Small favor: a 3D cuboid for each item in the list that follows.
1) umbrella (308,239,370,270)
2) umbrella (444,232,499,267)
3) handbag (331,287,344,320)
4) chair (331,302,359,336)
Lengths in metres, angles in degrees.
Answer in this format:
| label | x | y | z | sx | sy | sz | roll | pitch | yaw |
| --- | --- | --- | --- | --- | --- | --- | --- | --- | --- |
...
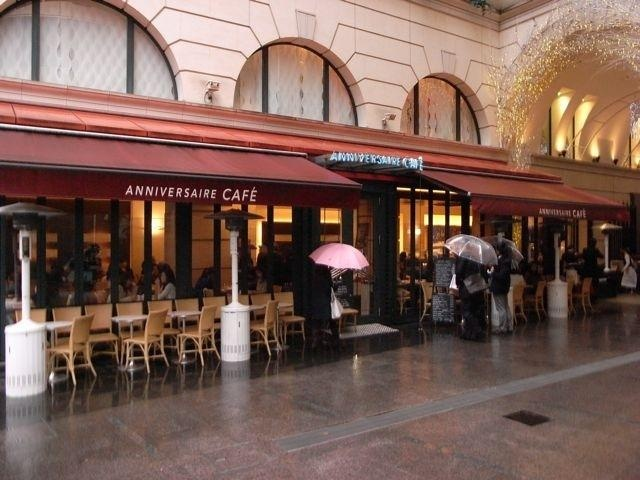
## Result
| label | x | y | z | sx | sy | sz | roll | pitch | yaw |
| --- | --- | --- | --- | --- | --- | --- | --- | --- | --- |
| umbrella | 0.425 | 0.374 | 14.734 | 1.159 | 0.571 | 0.744 | -3 | 1 | 5 |
| umbrella | 3.712 | 0.268 | 15.818 | 0.798 | 0.327 | 0.878 | 11 | 26 | -25 |
| handbag | 0.369 | 1.456 | 15.379 | 0.241 | 0.845 | 0.676 | -8 | -16 | 12 |
| chair | 0.549 | 1.798 | 16.409 | 0.655 | 0.886 | 0.547 | -5 | 8 | -35 |
